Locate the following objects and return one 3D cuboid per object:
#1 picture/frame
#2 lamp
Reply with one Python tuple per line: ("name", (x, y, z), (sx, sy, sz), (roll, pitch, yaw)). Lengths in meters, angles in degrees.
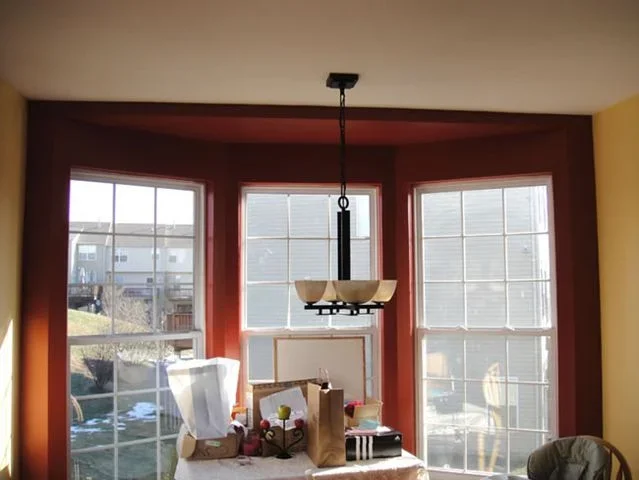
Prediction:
("picture/frame", (0.016, 1.022, 4.316), (0.712, 0.477, 0.082), (1, -5, -5))
("lamp", (0.219, -0.260, 3.682), (0.582, 1.587, 1.254), (0, -5, 7))
